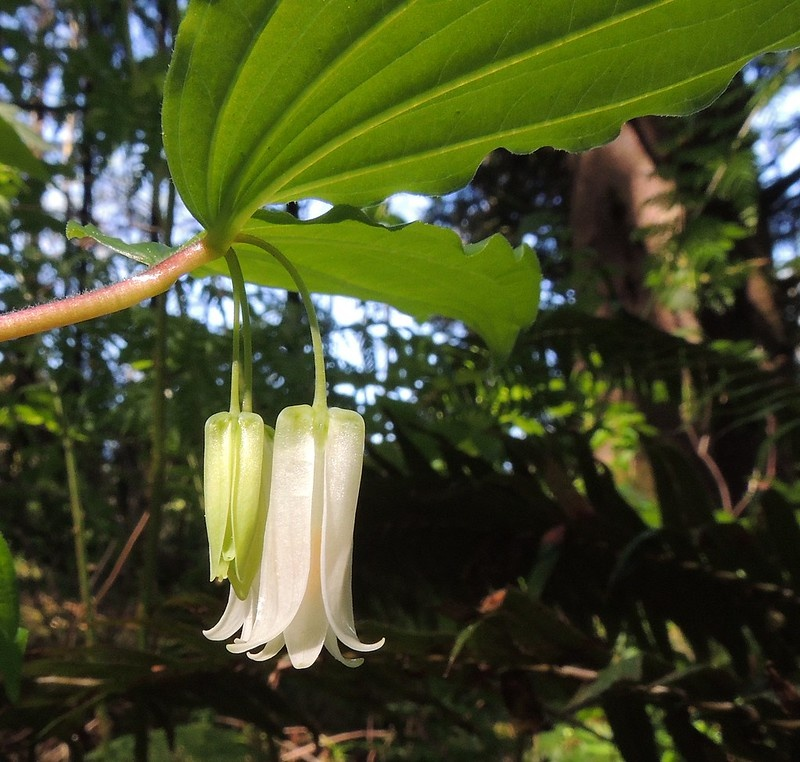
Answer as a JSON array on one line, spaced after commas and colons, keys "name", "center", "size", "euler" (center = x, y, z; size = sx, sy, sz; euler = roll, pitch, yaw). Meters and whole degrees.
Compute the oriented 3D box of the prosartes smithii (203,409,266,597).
[{"name": "prosartes smithii", "center": [-0.235, 0.179, 1.379], "size": [0.094, 0.267, 0.046], "euler": [0, -7, -8]}]
